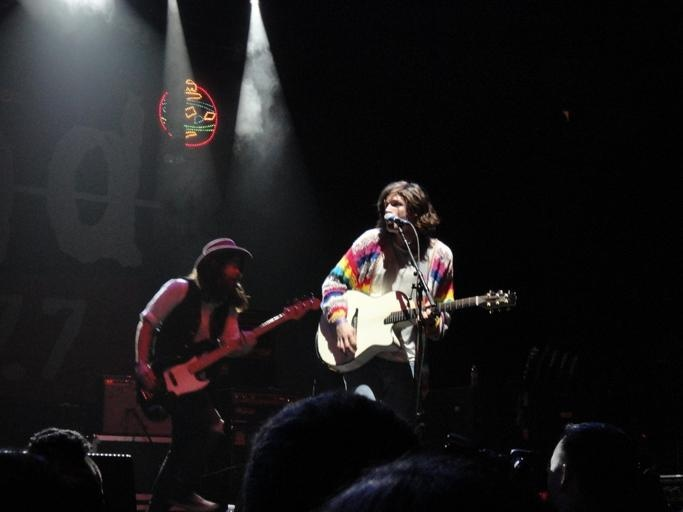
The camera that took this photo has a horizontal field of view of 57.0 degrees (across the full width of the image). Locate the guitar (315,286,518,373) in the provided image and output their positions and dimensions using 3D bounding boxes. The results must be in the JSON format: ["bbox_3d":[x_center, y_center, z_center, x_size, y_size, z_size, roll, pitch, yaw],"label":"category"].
[{"bbox_3d":[0.460,0.585,4.964,1.367,0.773,0.425,2,-14,27],"label":"guitar"}]

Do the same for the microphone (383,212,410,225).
[{"bbox_3d":[0.435,-0.302,4.965,0.182,0.080,0.096,5,3,-3],"label":"microphone"}]
